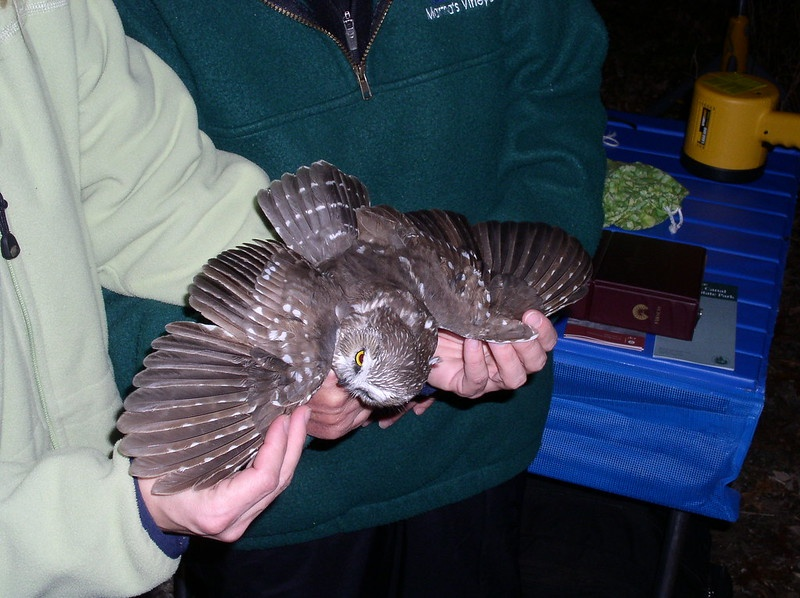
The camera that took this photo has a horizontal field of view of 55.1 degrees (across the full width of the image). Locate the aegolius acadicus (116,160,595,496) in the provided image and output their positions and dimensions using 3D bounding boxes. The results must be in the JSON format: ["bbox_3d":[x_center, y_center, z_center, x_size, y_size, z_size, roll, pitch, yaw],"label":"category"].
[{"bbox_3d":[-0.158,0.048,2.140,0.684,0.602,1.133,18,34,31],"label":"aegolius acadicus"}]
